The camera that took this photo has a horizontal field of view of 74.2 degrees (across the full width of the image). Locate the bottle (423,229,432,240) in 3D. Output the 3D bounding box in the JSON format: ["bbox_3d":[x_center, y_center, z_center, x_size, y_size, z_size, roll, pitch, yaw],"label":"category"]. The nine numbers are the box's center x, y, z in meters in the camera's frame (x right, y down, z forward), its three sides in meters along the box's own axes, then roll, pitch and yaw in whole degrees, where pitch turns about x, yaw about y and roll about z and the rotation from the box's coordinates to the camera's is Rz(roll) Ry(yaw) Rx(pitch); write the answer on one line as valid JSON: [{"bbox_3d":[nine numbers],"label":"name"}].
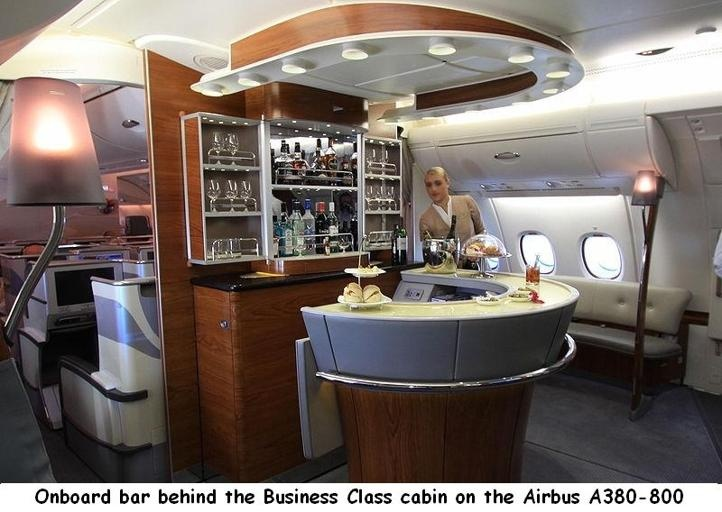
[{"bbox_3d":[0.624,-0.205,4.524,0.093,0.080,0.071,0,-10,39],"label":"bottle"}]

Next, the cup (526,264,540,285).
[{"bbox_3d":[1.350,0.152,3.741,0.086,0.143,0.152,1,9,17],"label":"cup"}]

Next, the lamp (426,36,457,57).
[{"bbox_3d":[0.536,-1.367,3.116,0.183,0.066,0.182,-2,9,-1],"label":"lamp"}]

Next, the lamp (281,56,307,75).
[{"bbox_3d":[-0.499,-1.324,3.334,0.219,0.061,0.205,1,9,17],"label":"lamp"}]

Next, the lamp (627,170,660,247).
[{"bbox_3d":[2.907,-0.507,4.826,0.276,0.707,0.832,3,10,30],"label":"lamp"}]

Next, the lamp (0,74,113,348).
[{"bbox_3d":[-1.799,-0.287,2.650,0.362,1.359,0.628,3,10,27],"label":"lamp"}]

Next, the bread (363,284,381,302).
[{"bbox_3d":[0.069,0.244,3.119,0.101,0.049,0.153,-2,9,-3],"label":"bread"}]

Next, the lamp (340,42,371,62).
[{"bbox_3d":[-0.038,-1.328,3.106,0.172,0.070,0.164,-1,9,2],"label":"lamp"}]

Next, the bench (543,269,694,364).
[{"bbox_3d":[2.874,0.758,5.720,0.846,0.740,1.730,-17,11,-31],"label":"bench"}]

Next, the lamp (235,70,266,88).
[{"bbox_3d":[-0.836,-1.314,3.564,0.226,0.070,0.237,1,9,15],"label":"lamp"}]

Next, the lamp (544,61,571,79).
[{"bbox_3d":[1.501,-1.399,3.598,0.169,0.079,0.129,1,9,15],"label":"lamp"}]

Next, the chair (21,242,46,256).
[{"bbox_3d":[-4.302,-0.096,6.205,0.176,0.294,0.182,9,7,7],"label":"chair"}]

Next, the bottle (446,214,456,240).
[{"bbox_3d":[0.897,-0.284,4.661,0.063,0.199,0.151,5,20,11],"label":"bottle"}]

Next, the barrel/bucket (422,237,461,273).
[{"bbox_3d":[0.694,-0.018,4.189,0.303,0.274,0.301,0,2,0],"label":"barrel/bucket"}]

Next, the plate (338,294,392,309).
[{"bbox_3d":[0.027,0.289,3.110,0.340,0.101,0.193,-2,9,1],"label":"plate"}]

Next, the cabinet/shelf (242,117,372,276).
[{"bbox_3d":[-0.501,-0.533,4.554,0.703,1.297,1.137,8,12,43],"label":"cabinet/shelf"}]

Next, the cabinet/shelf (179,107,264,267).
[{"bbox_3d":[-1.104,-0.520,3.901,0.584,1.146,0.335,-9,14,-44],"label":"cabinet/shelf"}]

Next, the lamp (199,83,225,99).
[{"bbox_3d":[-1.150,-1.290,3.738,0.184,0.060,0.214,2,9,25],"label":"lamp"}]

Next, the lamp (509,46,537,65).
[{"bbox_3d":[1.109,-1.386,3.289,0.135,0.068,0.164,6,12,42],"label":"lamp"}]

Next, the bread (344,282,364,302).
[{"bbox_3d":[-0.049,0.233,3.114,0.099,0.122,0.048,4,-21,1],"label":"bread"}]

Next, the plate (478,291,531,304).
[{"bbox_3d":[0.987,0.285,3.270,0.441,0.049,0.129,-5,7,-32],"label":"plate"}]
